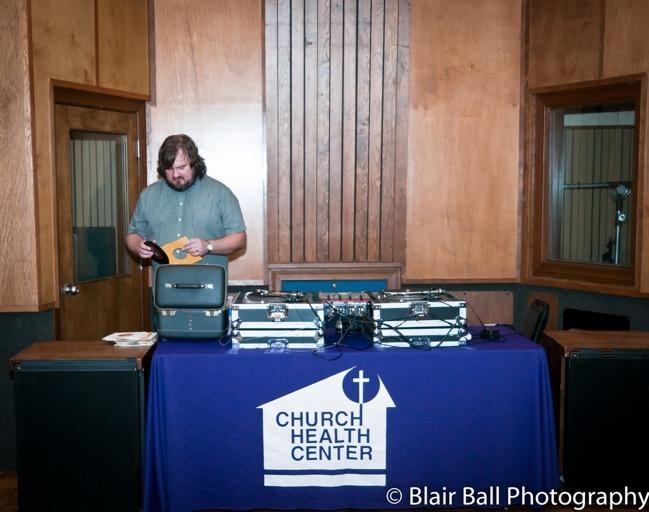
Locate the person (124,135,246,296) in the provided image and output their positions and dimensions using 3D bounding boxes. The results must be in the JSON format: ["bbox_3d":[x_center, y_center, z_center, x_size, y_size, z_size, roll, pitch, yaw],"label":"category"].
[{"bbox_3d":[-0.925,-0.117,4.245,0.733,1.381,0.646,-2,11,-10],"label":"person"}]

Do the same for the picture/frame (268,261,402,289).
[{"bbox_3d":[0.084,0.162,5.274,1.127,0.258,0.065,-3,9,-4],"label":"picture/frame"}]

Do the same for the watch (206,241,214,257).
[{"bbox_3d":[-0.731,-0.060,3.996,0.038,0.069,0.062,-2,0,-27],"label":"watch"}]
